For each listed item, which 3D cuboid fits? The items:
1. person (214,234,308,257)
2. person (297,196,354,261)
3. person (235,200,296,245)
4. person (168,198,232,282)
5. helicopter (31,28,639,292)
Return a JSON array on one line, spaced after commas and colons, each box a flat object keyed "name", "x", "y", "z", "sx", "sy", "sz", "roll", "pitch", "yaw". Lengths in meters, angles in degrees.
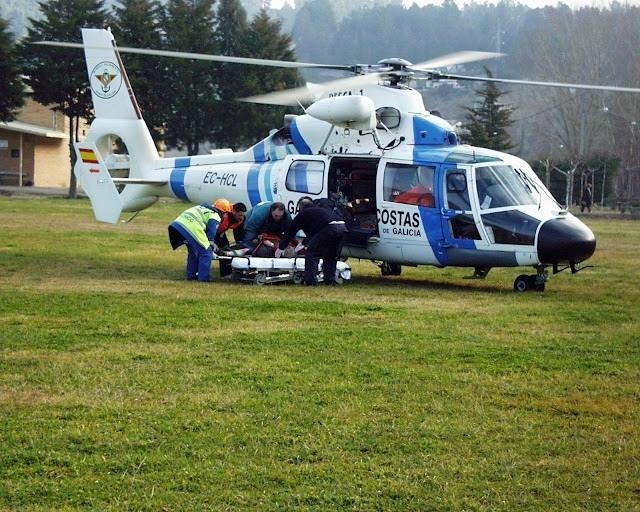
[{"name": "person", "x": -1.174, "y": -0.171, "z": 20.998, "sx": 1.175, "sy": 0.292, "sz": 0.712, "roll": -2, "pitch": 5, "yaw": -11}, {"name": "person", "x": 0.004, "y": -0.264, "z": 20.453, "sx": 1.042, "sy": 1.659, "sz": 0.788, "roll": 2, "pitch": 4, "yaw": 9}, {"name": "person", "x": -1.129, "y": -0.679, "z": 21.220, "sx": 0.882, "sy": 0.968, "sz": 1.003, "roll": -5, "pitch": 42, "yaw": -25}, {"name": "person", "x": -2.494, "y": -0.224, "z": 20.581, "sx": 0.980, "sy": 1.470, "sz": 0.587, "roll": 1, "pitch": 4, "yaw": -5}, {"name": "helicopter", "x": -0.237, "y": -2.124, "z": 20.498, "sx": 12.543, "sy": 5.446, "sz": 7.129, "roll": 2, "pitch": 3, "yaw": 19}]
